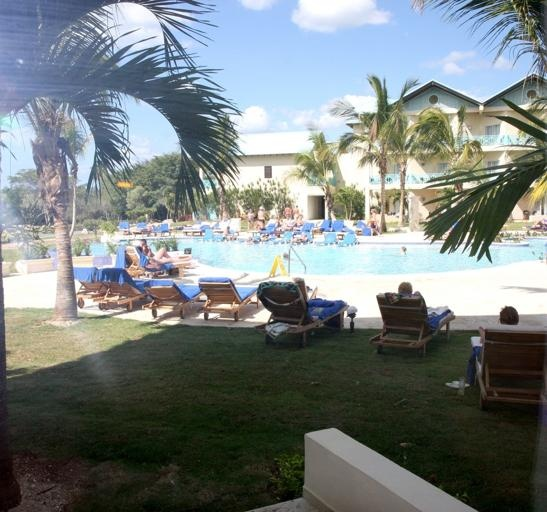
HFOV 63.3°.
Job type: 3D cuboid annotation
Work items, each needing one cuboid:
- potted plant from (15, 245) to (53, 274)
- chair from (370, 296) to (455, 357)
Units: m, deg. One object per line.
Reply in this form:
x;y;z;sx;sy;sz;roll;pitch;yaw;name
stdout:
-8.699;0.227;16.010;1.294;0.899;1.397;5;6;30;potted plant
1.955;0.876;6.314;0.715;0.731;1.256;2;9;34;chair
